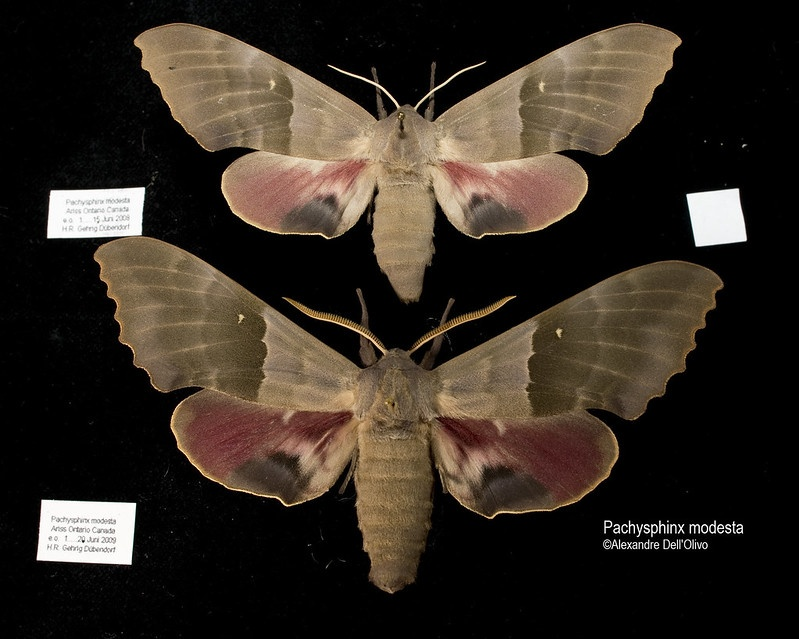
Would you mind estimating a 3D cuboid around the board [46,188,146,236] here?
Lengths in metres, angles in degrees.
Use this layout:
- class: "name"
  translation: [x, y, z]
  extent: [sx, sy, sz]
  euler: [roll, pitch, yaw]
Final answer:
- class: "board"
  translation: [-1.140, -0.406, 3.770]
  extent: [0.352, 0.006, 0.145]
  euler: [-4, 102, -32]

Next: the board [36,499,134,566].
- class: "board"
  translation: [-1.145, 0.786, 3.671]
  extent: [0.464, 0.033, 0.223]
  euler: [-4, 77, 26]

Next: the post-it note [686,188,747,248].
- class: "post-it note"
  translation: [1.187, -0.372, 3.630]
  extent: [0.289, 0.055, 0.190]
  euler: [-3, 92, -3]
